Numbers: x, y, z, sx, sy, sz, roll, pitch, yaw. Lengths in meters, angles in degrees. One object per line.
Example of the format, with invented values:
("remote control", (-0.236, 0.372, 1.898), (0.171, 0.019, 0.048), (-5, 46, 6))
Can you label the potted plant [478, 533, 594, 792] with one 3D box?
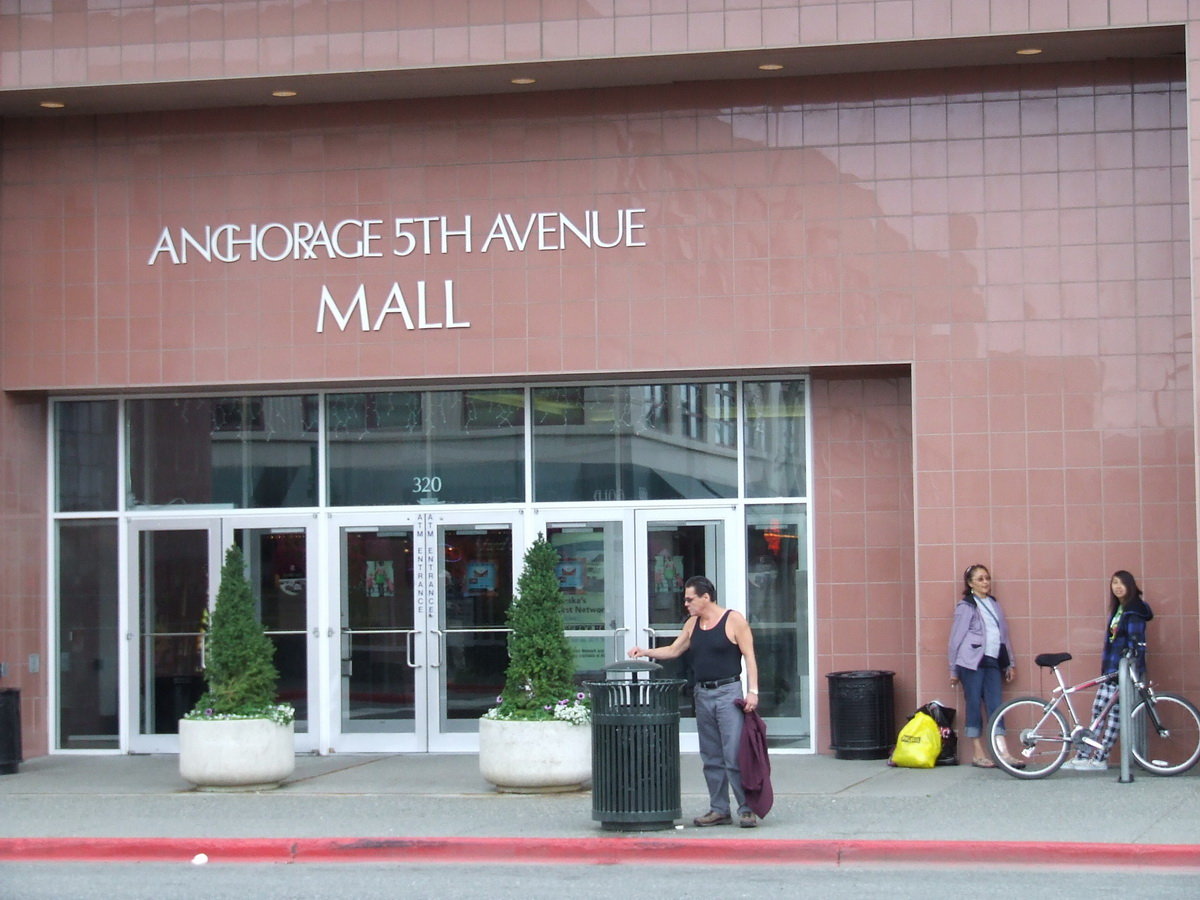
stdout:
("potted plant", (-0.720, 2.334, 20.271), (1.153, 2.730, 0.652), (-2, -4, -2))

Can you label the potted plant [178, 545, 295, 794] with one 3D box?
("potted plant", (-4.102, 2.431, 21.108), (1.219, 2.708, 0.501), (-1, -4, -14))

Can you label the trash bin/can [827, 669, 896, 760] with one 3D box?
("trash bin/can", (3.326, 3.157, 22.640), (0.939, 1.002, 0.980), (0, -2, 18))

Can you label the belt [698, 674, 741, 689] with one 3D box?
("belt", (1.139, 2.275, 18.416), (0.406, 0.132, 0.171), (-2, -4, 1))

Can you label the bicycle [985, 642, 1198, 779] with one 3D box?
("bicycle", (5.532, 3.096, 21.155), (2.361, 1.427, 1.152), (-2, -12, 11))

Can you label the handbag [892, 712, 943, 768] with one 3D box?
("handbag", (3.683, 3.384, 21.762), (0.561, 0.643, 0.369), (4, -4, 24))

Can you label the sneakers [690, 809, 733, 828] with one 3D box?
("sneakers", (1.089, 3.609, 18.365), (0.411, 0.171, 0.147), (2, -6, -9))

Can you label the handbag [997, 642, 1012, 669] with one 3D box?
("handbag", (4.702, 2.399, 21.869), (0.196, 0.252, 0.073), (3, 3, -10))
